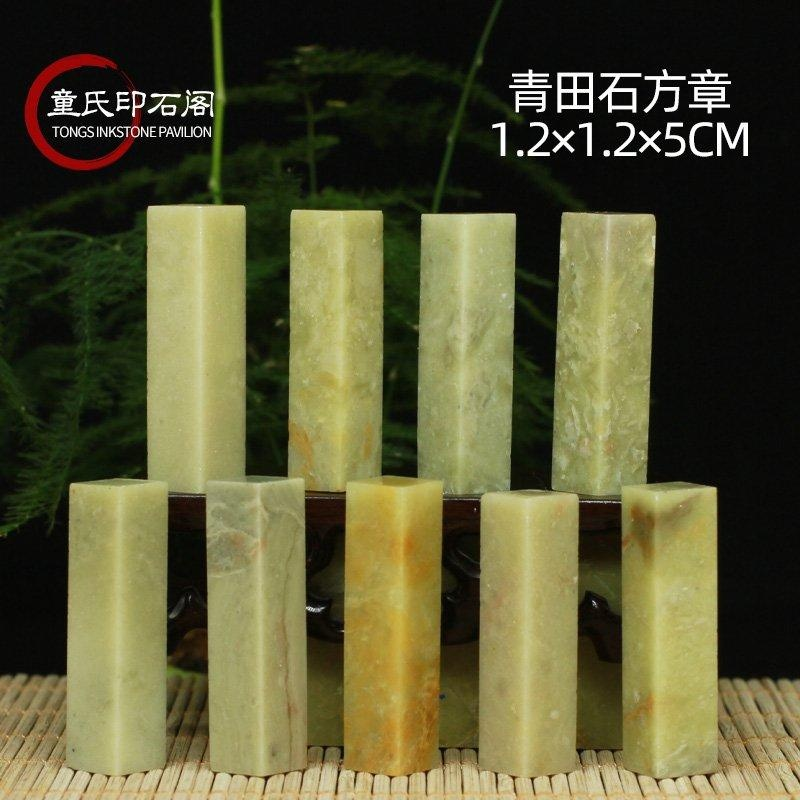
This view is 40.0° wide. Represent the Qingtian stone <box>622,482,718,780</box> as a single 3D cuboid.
[{"bbox_3d":[0.320,0.262,1.267,0.135,0.305,0.115,-3,-16,20],"label":"Qingtian stone"}]

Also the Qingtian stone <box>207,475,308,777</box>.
[{"bbox_3d":[-0.161,0.256,1.232,0.110,0.332,0.049,1,1,-8],"label":"Qingtian stone"}]

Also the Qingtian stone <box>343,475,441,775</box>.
[{"bbox_3d":[-0.009,0.258,1.237,0.107,0.334,0.066,1,1,0],"label":"Qingtian stone"}]

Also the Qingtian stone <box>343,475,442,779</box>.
[{"bbox_3d":[-0.020,0.257,1.277,0.127,0.309,0.125,0,-7,7],"label":"Qingtian stone"}]

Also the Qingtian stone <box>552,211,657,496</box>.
[{"bbox_3d":[0.243,-0.054,1.321,0.109,0.337,0.057,1,1,7],"label":"Qingtian stone"}]

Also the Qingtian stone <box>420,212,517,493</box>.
[{"bbox_3d":[0.079,-0.055,1.335,0.112,0.338,0.056,1,1,1],"label":"Qingtian stone"}]

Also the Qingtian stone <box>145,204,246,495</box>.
[{"bbox_3d":[-0.243,-0.061,1.313,0.113,0.343,0.051,1,1,-10],"label":"Qingtian stone"}]

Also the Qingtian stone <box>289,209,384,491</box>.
[{"bbox_3d":[-0.080,-0.059,1.332,0.105,0.338,0.057,1,1,-9],"label":"Qingtian stone"}]
